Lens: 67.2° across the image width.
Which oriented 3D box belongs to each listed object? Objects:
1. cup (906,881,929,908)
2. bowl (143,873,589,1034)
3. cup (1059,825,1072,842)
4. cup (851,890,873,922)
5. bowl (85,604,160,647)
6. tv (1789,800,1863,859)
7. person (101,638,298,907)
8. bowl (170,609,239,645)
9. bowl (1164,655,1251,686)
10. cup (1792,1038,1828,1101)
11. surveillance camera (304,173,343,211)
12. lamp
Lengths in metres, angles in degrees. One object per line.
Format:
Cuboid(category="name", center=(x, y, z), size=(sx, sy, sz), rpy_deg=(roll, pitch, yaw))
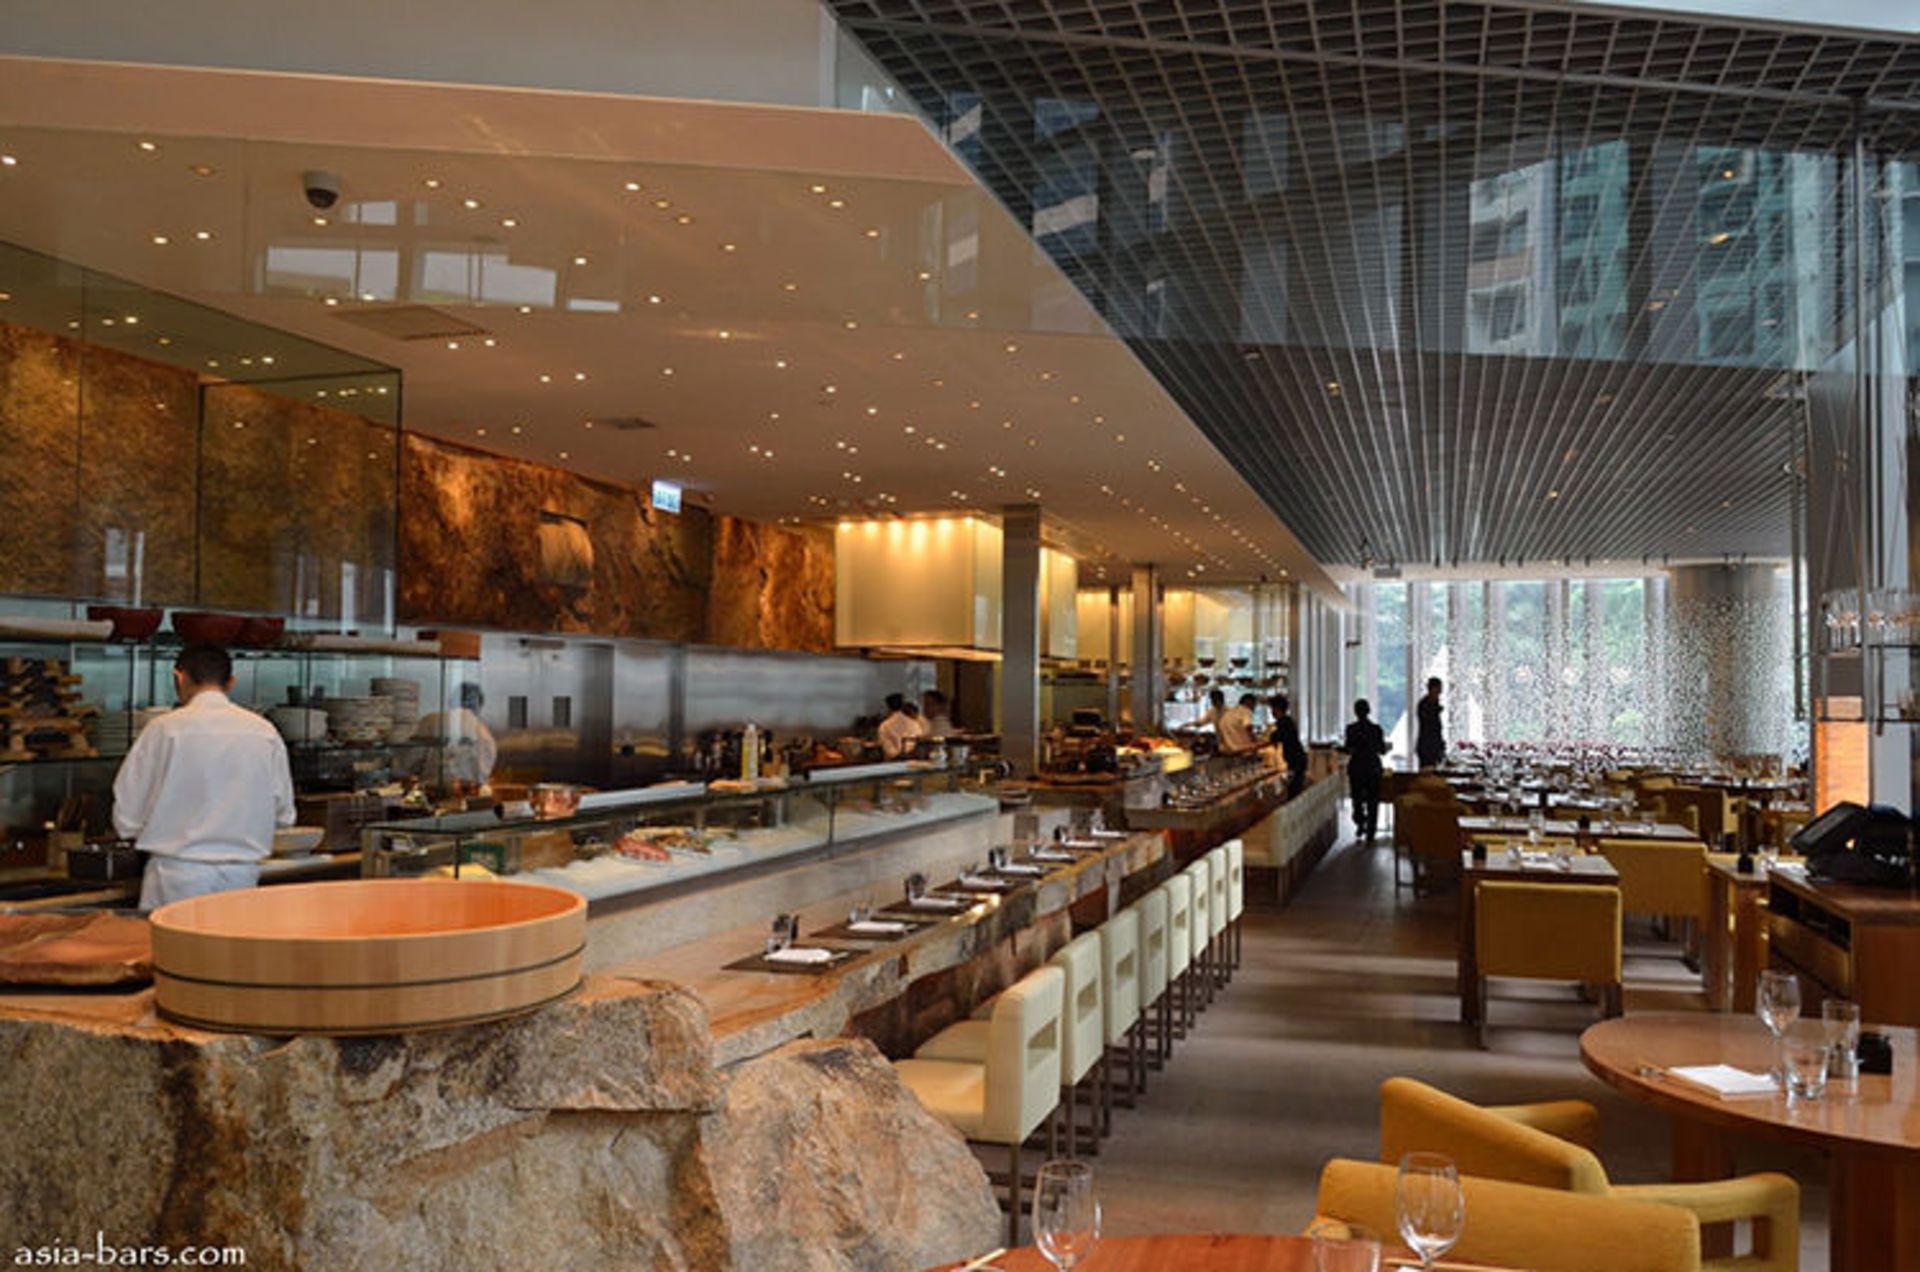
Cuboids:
Cuboid(category="cup", center=(-0.163, 1.077, 6.152), size=(0.089, 0.125, 0.084), rpy_deg=(1, -8, 0))
Cuboid(category="bowl", center=(-1.349, 0.730, 3.349), size=(0.952, 0.282, 0.444), rpy_deg=(0, 0, -9))
Cuboid(category="cup", center=(0.620, 1.122, 8.276), size=(0.070, 0.107, 0.126), rpy_deg=(-5, -8, 19))
Cuboid(category="cup", center=(-0.389, 1.101, 5.938), size=(0.067, 0.103, 0.103), rpy_deg=(0, -12, 2))
Cuboid(category="bowl", center=(-3.722, -0.065, 6.497), size=(0.267, 0.126, 0.255), rpy_deg=(0, -9, 0))
Cuboid(category="tv", center=(4.031, 0.892, 6.689), size=(0.286, 0.221, 0.480), rpy_deg=(1, 0, 28))
Cuboid(category="person", center=(-2.847, 0.515, 5.503), size=(0.509, 0.972, 0.323), rpy_deg=(1, 1, 4))
Cuboid(category="bowl", center=(-3.460, -0.048, 6.675), size=(0.264, 0.109, 0.243), rpy_deg=(1, -5, 0))
Cuboid(category="bowl", center=(4.006, 0.531, 22.777), size=(1.392, 0.425, 0.624), rpy_deg=(0, 0, 2))
Cuboid(category="cup", center=(2.571, 1.298, 4.365), size=(0.105, 0.172, 0.088), rpy_deg=(1, 1, 18))
Cuboid(category="surveillance camera", center=(-1.843, -1.298, 4.240), size=(0.090, 0.064, 0.090), rpy_deg=(-3, -9, 23))
Cuboid(category="lamp", center=(-0.137, -0.505, 15.551), size=(1.459, 1.208, 4.397), rpy_deg=(-9, -8, 21))
